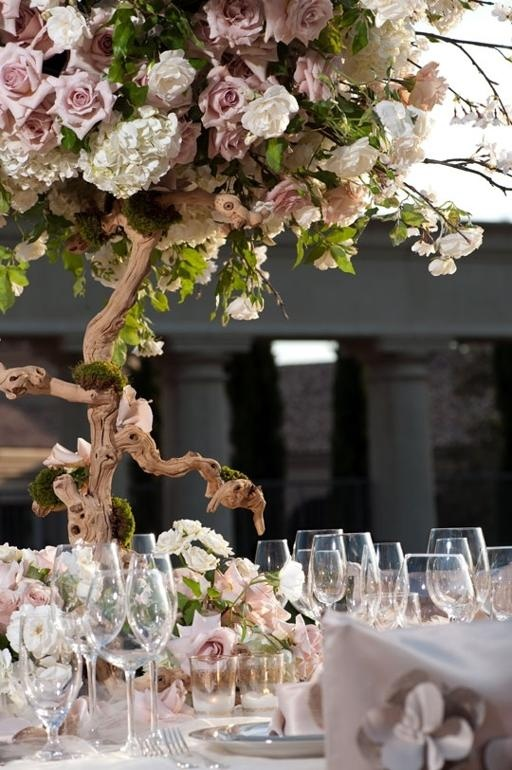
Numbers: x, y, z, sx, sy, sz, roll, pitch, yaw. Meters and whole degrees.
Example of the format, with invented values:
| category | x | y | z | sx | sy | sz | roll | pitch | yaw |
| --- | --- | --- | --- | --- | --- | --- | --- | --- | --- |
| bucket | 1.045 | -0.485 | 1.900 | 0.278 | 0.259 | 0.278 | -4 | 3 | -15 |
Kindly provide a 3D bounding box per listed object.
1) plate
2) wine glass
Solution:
| category | x | y | z | sx | sy | sz | roll | pitch | yaw |
| --- | --- | --- | --- | --- | --- | --- | --- | --- | --- |
| plate | -0.003 | 0.423 | 1.413 | 0.115 | 0.031 | 0.214 | 3 | -11 | -20 |
| wine glass | -0.167 | 0.321 | 1.467 | 0.141 | 0.252 | 0.188 | 7 | -14 | -35 |
